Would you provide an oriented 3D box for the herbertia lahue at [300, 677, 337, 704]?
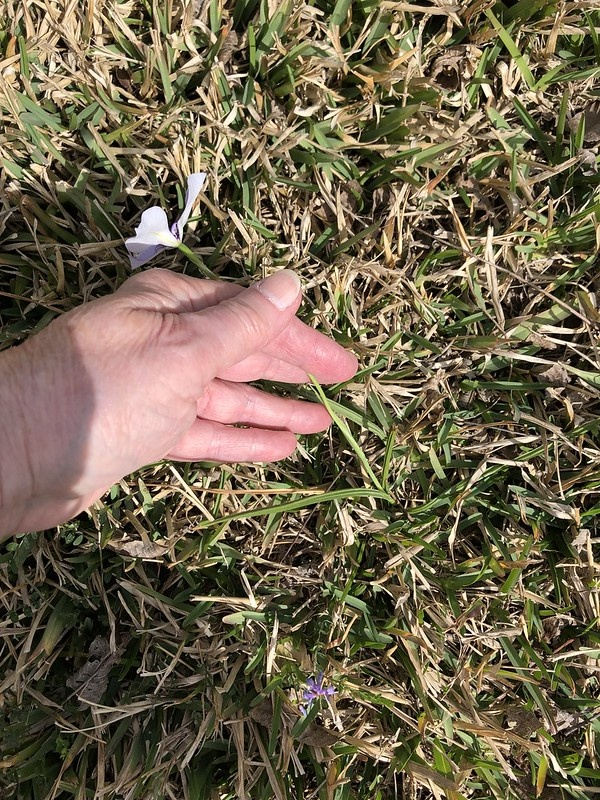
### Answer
[{"bbox_3d":[0.035,0.593,1.403,0.071,0.043,0.061,-14,-11,-5],"label":"herbertia lahue"}]

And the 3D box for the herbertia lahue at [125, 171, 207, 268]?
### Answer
[{"bbox_3d":[-0.276,-0.349,1.361,0.083,0.182,0.191,15,30,-8],"label":"herbertia lahue"}]
